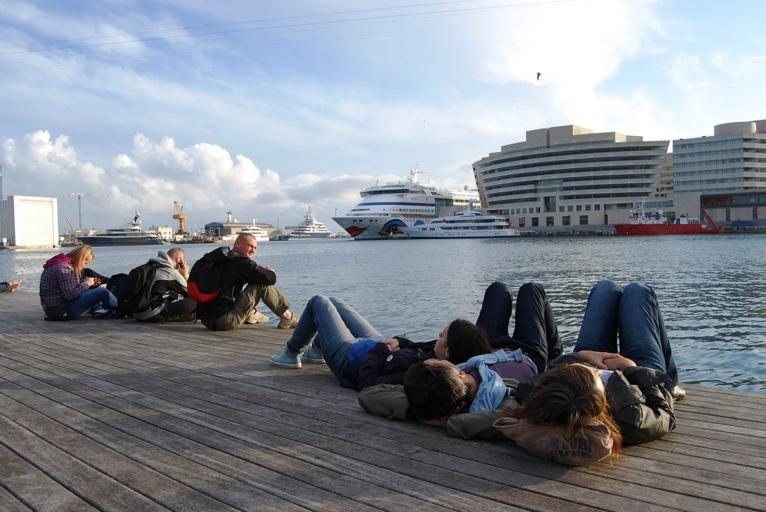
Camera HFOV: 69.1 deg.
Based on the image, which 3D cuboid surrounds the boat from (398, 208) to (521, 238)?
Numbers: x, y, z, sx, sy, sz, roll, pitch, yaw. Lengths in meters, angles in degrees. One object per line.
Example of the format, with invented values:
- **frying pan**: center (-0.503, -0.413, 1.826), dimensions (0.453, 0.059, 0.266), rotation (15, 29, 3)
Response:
- **boat**: center (14.305, -5.686, 101.843), dimensions (18.738, 5.473, 5.254), rotation (1, 14, 8)

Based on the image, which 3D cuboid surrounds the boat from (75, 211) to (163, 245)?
- **boat**: center (-58.633, -5.974, 127.072), dimensions (19.521, 4.885, 4.103), rotation (-2, 10, -1)

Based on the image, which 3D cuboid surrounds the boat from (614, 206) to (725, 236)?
- **boat**: center (50.242, -6.288, 99.029), dimensions (12.436, 5.574, 33.314), rotation (-1, 2, 17)

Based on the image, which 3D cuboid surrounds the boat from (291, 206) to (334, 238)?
- **boat**: center (-23.643, -9.992, 180.379), dimensions (9.382, 9.907, 14.193), rotation (-5, 14, -15)

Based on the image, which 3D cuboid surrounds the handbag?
- **handbag**: center (1.394, 1.503, 4.559), dimensions (0.926, 0.440, 0.171), rotation (3, 16, 17)
